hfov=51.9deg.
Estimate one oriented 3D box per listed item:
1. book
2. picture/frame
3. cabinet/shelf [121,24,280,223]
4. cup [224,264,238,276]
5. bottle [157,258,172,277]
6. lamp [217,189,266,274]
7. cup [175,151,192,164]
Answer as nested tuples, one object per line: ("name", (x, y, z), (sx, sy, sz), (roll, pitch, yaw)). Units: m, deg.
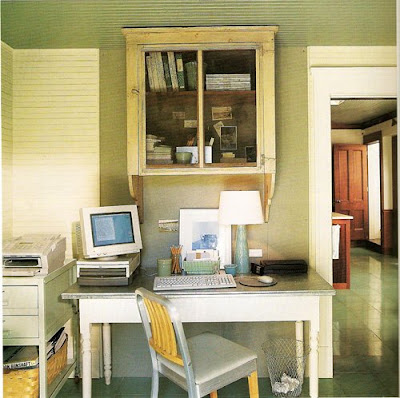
("book", (0.012, -0.597, 2.622), (0.652, 0.722, 0.233), (-1, -1, -1))
("picture/frame", (0.041, 0.300, 2.828), (0.369, 0.495, 0.016), (0, -6, -1))
("cabinet/shelf", (-0.019, -0.435, 2.736), (0.924, 1.304, 0.382), (-1, -12, -5))
("cup", (0.201, 0.474, 2.681), (0.064, 0.053, 0.069), (-1, -4, 0))
("bottle", (-0.228, 0.450, 2.669), (0.093, 0.105, 0.100), (0, 0, 0))
("lamp", (0.264, 0.226, 2.686), (0.289, 0.551, 0.238), (-2, 4, -16))
("cup", (-0.108, -0.260, 2.637), (0.080, 0.067, 0.083), (0, 4, 0))
